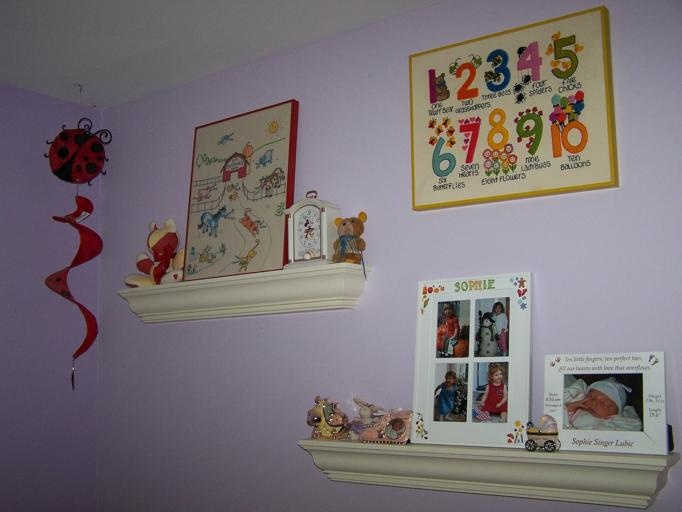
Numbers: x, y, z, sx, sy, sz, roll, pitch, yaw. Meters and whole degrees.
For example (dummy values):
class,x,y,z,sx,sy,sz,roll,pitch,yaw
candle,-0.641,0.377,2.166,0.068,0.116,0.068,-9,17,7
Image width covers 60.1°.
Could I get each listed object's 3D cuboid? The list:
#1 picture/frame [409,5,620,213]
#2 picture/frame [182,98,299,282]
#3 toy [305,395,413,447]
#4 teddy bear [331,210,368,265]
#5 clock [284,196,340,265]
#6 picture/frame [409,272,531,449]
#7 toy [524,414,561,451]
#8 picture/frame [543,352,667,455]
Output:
class,x,y,z,sx,sy,sz,roll,pitch,yaw
picture/frame,0.686,-0.540,2.228,0.718,0.636,0.031,-9,-17,32
picture/frame,-0.454,-0.292,2.766,0.716,0.941,0.071,-10,-19,35
toy,0.075,0.645,2.325,0.444,0.174,0.192,2,-6,25
teddy bear,0.038,-0.078,2.482,0.147,0.233,0.159,8,-7,-34
clock,-0.116,-0.093,2.525,0.199,0.297,0.146,-7,-9,35
picture/frame,0.490,0.399,2.155,0.522,0.801,0.035,-6,-23,28
toy,0.683,0.598,1.990,0.106,0.128,0.081,-6,-16,37
picture/frame,0.888,0.498,1.942,0.289,0.280,0.022,-6,-25,26
